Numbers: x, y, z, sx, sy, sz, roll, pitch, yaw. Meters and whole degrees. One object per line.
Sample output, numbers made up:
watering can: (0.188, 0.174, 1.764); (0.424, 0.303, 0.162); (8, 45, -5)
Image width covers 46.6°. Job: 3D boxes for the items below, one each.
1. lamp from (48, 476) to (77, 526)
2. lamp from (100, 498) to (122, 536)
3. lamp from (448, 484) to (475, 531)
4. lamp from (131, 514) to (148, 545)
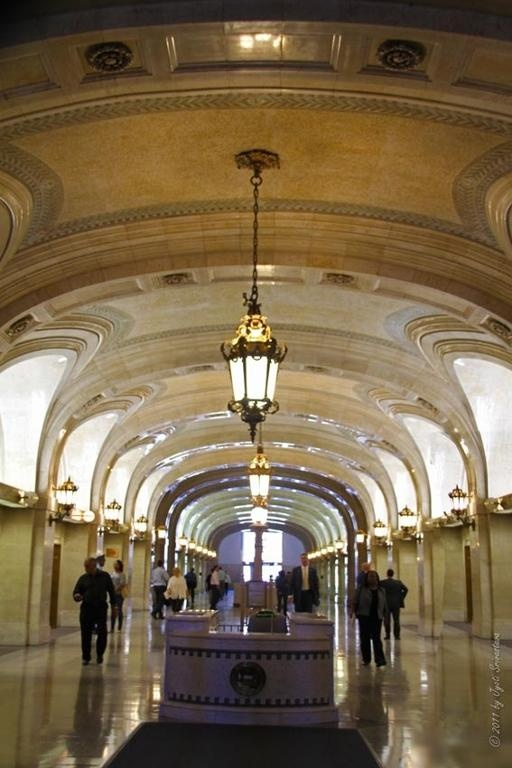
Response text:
lamp: (-4.371, 2.663, 13.519); (0.483, 1.016, 0.944); (5, -16, -16)
lamp: (-4.605, 4.234, 19.141); (0.584, 1.008, 2.301); (3, -16, -12)
lamp: (4.755, 2.858, 13.793); (0.470, 0.992, 1.144); (-5, -16, 16)
lamp: (-4.474, 5.609, 23.128); (0.540, 0.907, 1.682); (2, -16, -9)
